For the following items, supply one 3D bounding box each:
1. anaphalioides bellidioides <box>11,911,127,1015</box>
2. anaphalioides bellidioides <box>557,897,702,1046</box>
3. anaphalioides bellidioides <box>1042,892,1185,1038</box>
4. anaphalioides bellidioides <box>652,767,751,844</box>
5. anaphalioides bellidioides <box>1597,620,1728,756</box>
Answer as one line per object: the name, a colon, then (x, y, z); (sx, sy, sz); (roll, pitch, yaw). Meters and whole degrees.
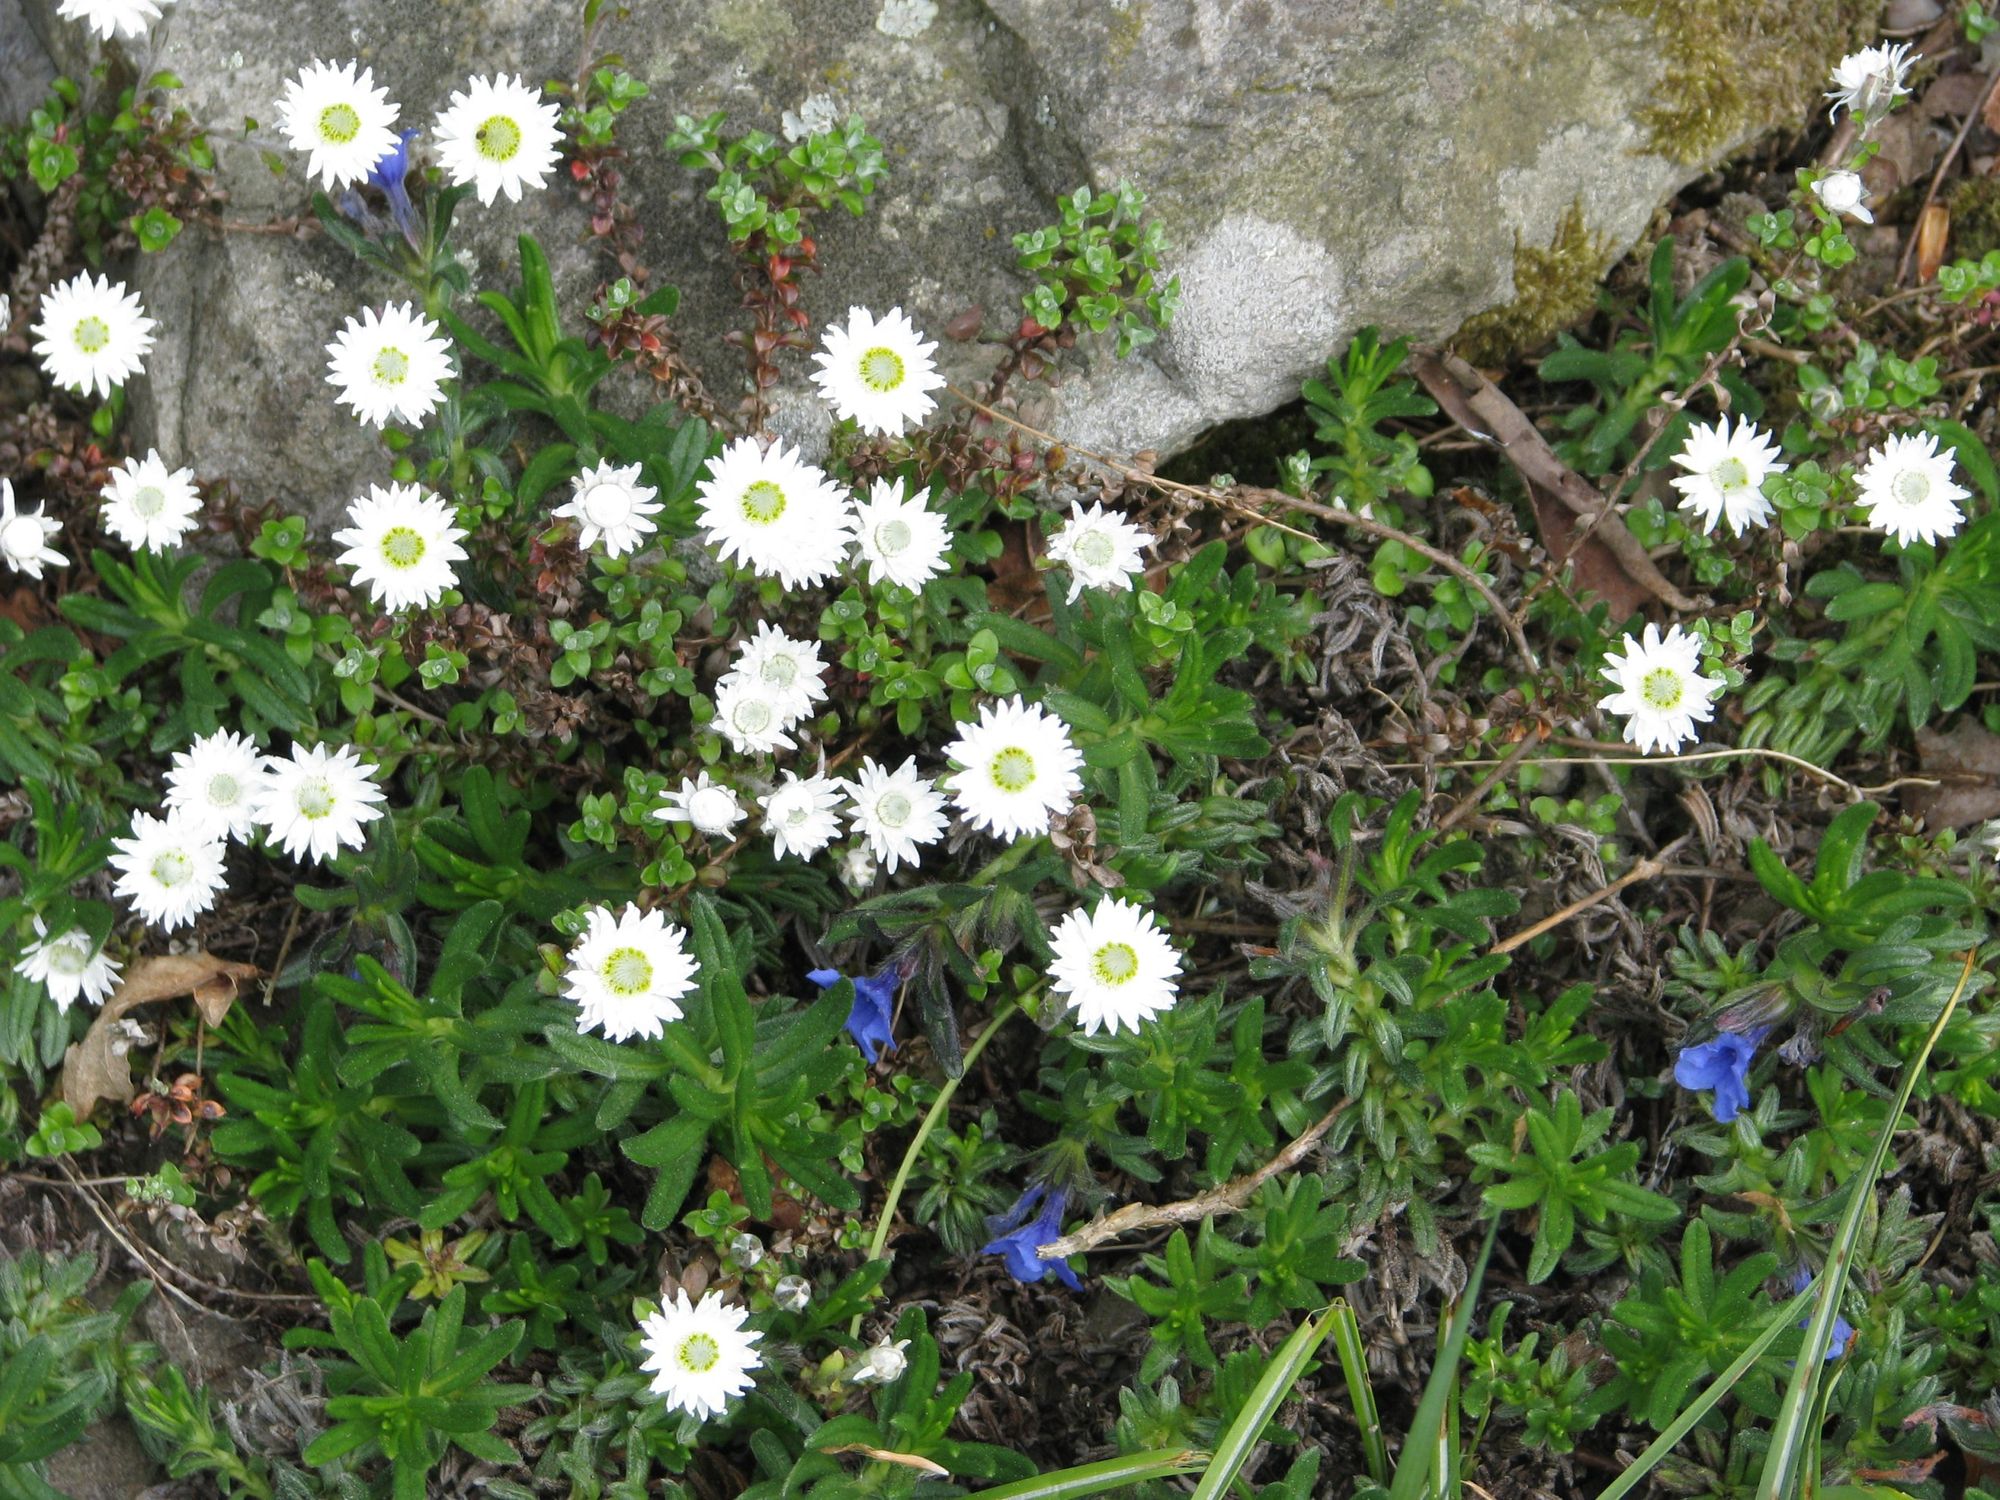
anaphalioides bellidioides: (-2.033, 0.475, 4.445); (0.190, 0.185, 0.078); (-49, 23, 2)
anaphalioides bellidioides: (-0.732, 0.453, 4.028); (0.258, 0.218, 0.231); (-29, 56, -15)
anaphalioides bellidioides: (0.222, 0.452, 4.133); (0.254, 0.241, 0.215); (-8, 53, 0)
anaphalioides bellidioides: (-0.632, 0.123, 4.255); (0.126, 0.049, 0.150); (0, 50, 9)
anaphalioides bellidioides: (1.407, -0.127, 4.391); (0.247, 0.209, 0.250); (19, 58, 18)
